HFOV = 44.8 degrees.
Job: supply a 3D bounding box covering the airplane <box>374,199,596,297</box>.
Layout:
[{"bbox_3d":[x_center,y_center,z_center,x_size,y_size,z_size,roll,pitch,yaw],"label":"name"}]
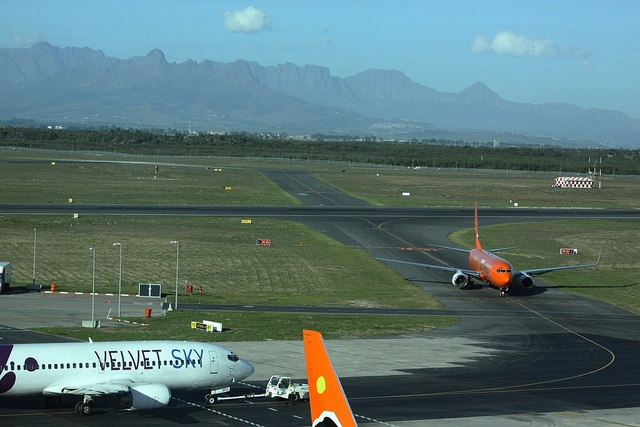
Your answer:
[{"bbox_3d":[27.069,6.462,126.172,22.205,11.737,22.931,-3,5,-8],"label":"airplane"}]
